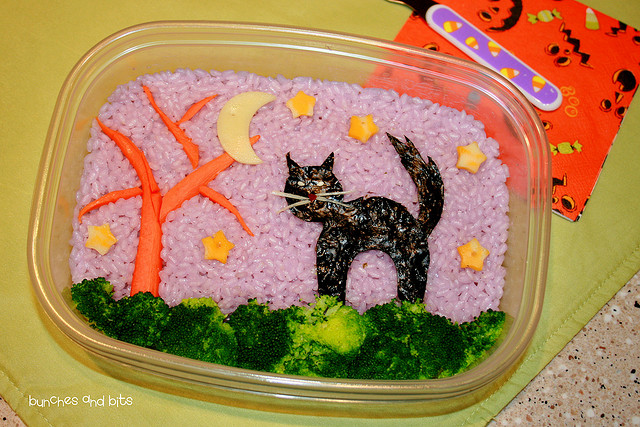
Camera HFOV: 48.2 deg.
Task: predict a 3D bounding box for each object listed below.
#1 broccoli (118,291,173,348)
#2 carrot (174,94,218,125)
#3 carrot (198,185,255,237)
[{"bbox_3d":[-0.970,0.601,4.029,0.248,0.097,0.305,24,81,-3],"label":"broccoli"},{"bbox_3d":[-0.730,-0.610,4.205,0.249,0.025,0.042,-40,93,-7],"label":"carrot"},{"bbox_3d":[-0.542,-0.005,4.139,0.310,0.059,0.083,46,57,3],"label":"carrot"}]
